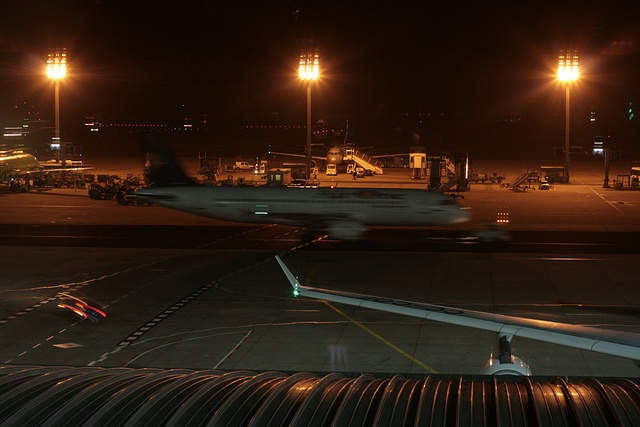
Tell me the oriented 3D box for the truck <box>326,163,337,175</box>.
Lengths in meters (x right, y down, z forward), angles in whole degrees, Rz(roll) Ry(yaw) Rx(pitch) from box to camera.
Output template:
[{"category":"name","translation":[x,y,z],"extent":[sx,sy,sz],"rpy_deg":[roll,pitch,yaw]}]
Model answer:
[{"category":"truck","translation":[2.478,-10.075,110.633],"extent":[2.520,1.417,3.057],"rpy_deg":[2,11,8]}]

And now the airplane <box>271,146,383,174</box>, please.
[{"category":"airplane","translation":[1.829,-13.478,121.638],"extent":[25.178,4.376,16.027],"rpy_deg":[1,2,4]}]
